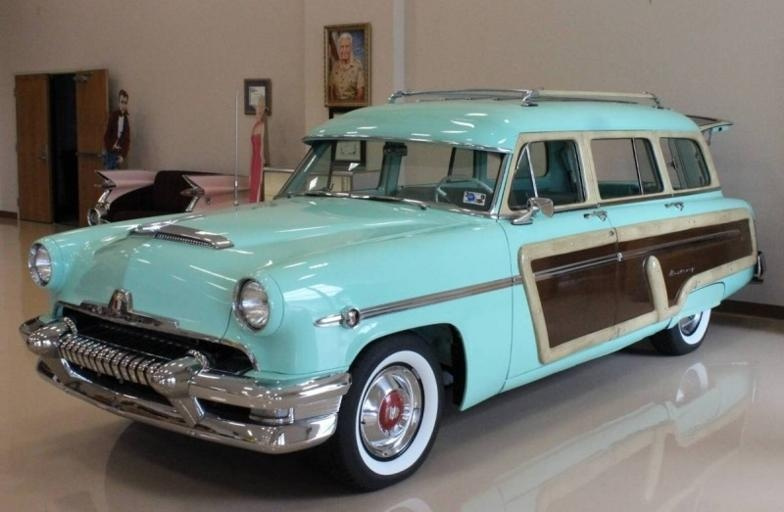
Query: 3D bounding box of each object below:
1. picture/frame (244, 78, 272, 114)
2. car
[{"bbox_3d":[-2.182,-2.579,9.112,0.497,0.572,0.078,7,13,20],"label":"picture/frame"},{"bbox_3d":[0.621,0.131,4.297,5.269,1.903,2.503,-4,5,-40],"label":"car"}]
